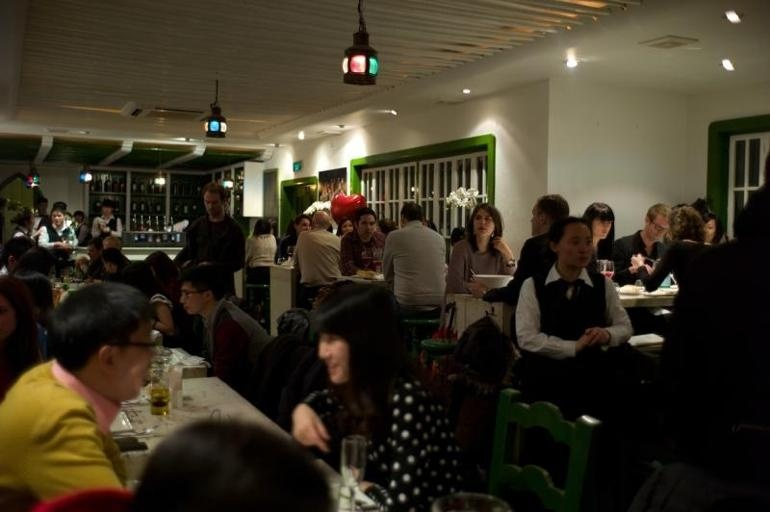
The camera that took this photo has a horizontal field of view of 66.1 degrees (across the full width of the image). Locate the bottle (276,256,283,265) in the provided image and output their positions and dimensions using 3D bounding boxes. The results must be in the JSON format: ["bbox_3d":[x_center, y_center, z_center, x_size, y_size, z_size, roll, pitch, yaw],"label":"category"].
[{"bbox_3d":[-1.712,0.059,9.680,0.156,0.135,0.125,6,-7,-31],"label":"bottle"}]

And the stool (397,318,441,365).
[{"bbox_3d":[0.352,0.870,6.217,0.404,0.388,0.376,1,-1,-36],"label":"stool"}]

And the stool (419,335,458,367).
[{"bbox_3d":[0.450,0.849,5.165,0.317,0.189,0.318,0,3,5],"label":"stool"}]
